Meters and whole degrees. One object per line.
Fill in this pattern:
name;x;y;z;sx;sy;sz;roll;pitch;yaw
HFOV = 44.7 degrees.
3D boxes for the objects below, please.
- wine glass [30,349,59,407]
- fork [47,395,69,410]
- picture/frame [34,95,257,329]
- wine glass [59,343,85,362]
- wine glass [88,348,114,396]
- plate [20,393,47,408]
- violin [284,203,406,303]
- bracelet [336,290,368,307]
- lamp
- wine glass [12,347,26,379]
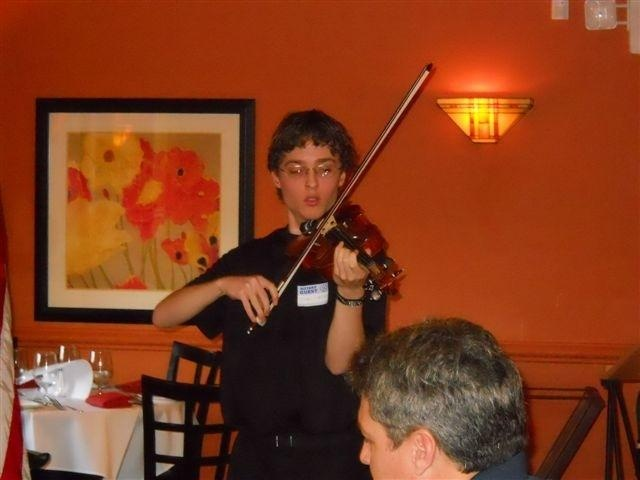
wine glass;-1.452;0.777;4.144;0.144;0.428;0.143;-1;13;-18
fork;-1.351;0.835;3.988;0.062;0.031;0.119;3;7;-42
picture/frame;-1.084;-0.214;4.984;1.336;1.575;0.057;1;1;5
wine glass;-1.380;0.634;4.271;0.106;0.089;0.241;5;-5;-21
wine glass;-1.232;0.745;4.391;0.166;0.265;0.176;2;-8;-25
plate;-1.479;0.831;3.958;0.068;0.021;0.074;18;0;22
violin;0.123;0.012;3.408;0.490;0.311;0.156;40;-16;32
bracelet;0.120;0.245;3.149;0.104;0.055;0.031;4;-4;-5
lamp;1.069;-0.770;5.081;0.640;0.337;0.092;1;-23;12
wine glass;-1.621;0.671;4.204;0.070;0.136;0.190;5;-4;-22
